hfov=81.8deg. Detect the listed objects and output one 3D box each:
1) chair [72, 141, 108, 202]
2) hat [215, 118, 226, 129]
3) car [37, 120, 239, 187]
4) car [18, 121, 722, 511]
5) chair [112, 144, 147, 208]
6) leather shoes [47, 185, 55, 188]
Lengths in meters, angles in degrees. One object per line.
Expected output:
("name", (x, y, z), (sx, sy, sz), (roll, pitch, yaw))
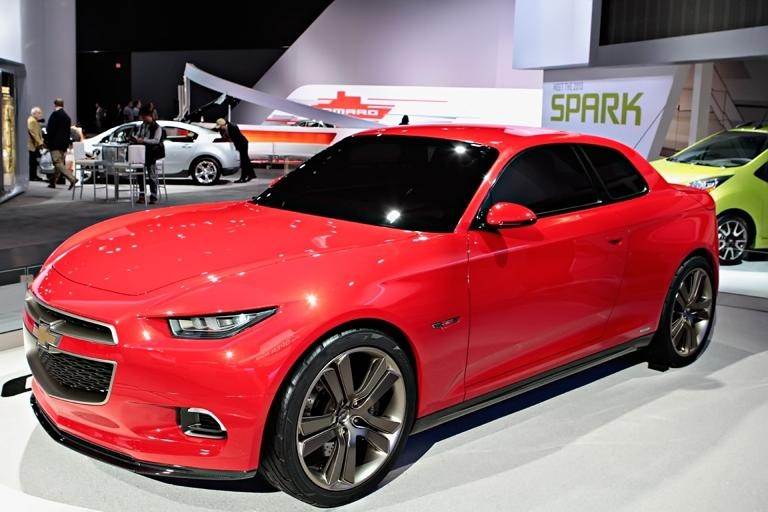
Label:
("chair", (-8.256, -2.618, 12.961), (0.632, 1.104, 0.588), (28, 4, 27))
("hat", (-5.859, -4.922, 16.294), (0.344, 0.222, 0.436), (-17, 46, -5))
("car", (-8.216, -3.684, 15.639), (5.968, 1.763, 2.528), (0, 8, -9))
("car", (0.489, 0.018, 3.348), (4.797, 1.360, 2.189), (-7, 13, -35))
("chair", (-6.605, -2.330, 11.878), (0.680, 1.060, 0.708), (6, 19, 19))
("leather shoes", (-10.350, -2.227, 14.171), (0.199, 0.124, 0.186), (-1, 1, 12))
